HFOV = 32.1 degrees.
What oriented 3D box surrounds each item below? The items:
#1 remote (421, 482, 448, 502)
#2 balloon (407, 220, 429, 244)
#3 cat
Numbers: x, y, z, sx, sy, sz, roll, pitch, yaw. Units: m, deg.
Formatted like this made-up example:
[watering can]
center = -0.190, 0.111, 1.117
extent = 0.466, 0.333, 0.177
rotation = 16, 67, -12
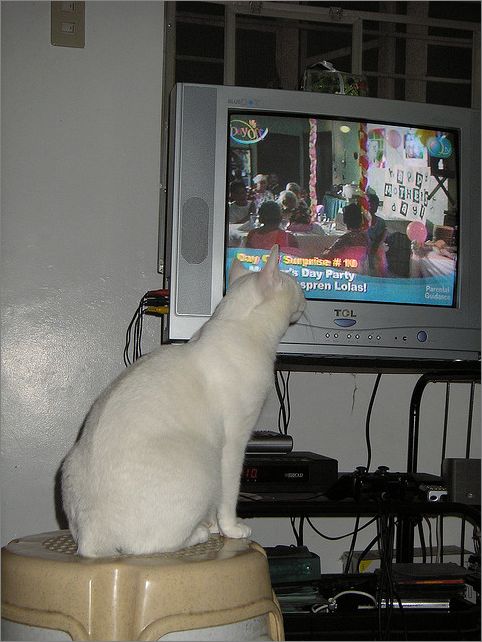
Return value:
[remote]
center = 0.442, 0.393, 1.924
extent = 0.059, 0.027, 0.099
rotation = 1, 6, 3
[balloon]
center = 0.455, -0.230, 2.177
extent = 0.040, 0.091, 0.042
rotation = -9, 13, -4
[cat]
center = -0.088, 0.135, 1.541
extent = 0.244, 0.544, 0.485
rotation = 6, 8, 42
